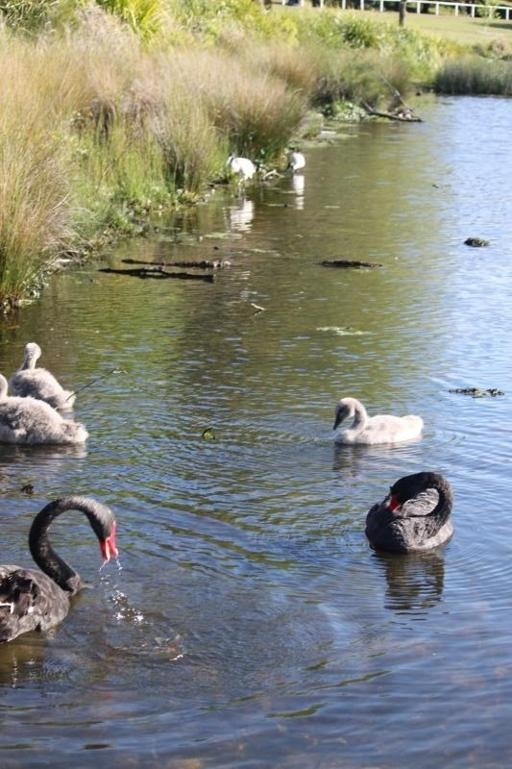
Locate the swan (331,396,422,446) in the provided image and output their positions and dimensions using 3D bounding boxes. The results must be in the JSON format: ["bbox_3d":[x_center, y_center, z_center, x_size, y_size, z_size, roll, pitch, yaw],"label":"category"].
[{"bbox_3d":[0.997,0.283,8.280,0.791,0.394,0.271,-3,19,-11],"label":"swan"}]
